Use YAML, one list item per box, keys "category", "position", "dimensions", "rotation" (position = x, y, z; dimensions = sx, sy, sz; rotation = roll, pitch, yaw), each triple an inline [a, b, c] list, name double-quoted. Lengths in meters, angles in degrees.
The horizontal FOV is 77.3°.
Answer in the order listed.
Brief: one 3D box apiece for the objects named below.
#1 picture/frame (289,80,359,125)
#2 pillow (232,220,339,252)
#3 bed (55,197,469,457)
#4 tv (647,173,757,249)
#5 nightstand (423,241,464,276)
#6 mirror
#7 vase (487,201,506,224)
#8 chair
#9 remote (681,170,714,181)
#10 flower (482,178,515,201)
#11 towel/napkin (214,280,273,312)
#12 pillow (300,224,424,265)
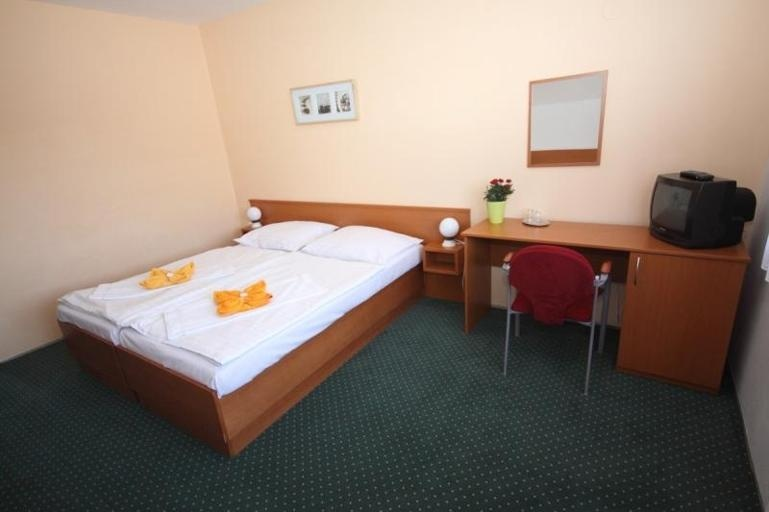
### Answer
- category: "picture/frame"
  position: [-0.689, -1.740, 5.464]
  dimensions: [0.849, 0.462, 0.169]
  rotation: [13, 25, 33]
- category: "pillow"
  position: [-1.091, -0.279, 5.700]
  dimensions: [0.614, 0.162, 0.584]
  rotation: [1, 14, 27]
- category: "bed"
  position: [-1.017, 0.425, 4.750]
  dimensions: [3.345, 1.395, 1.907]
  rotation: [-18, 26, -37]
- category: "tv"
  position: [2.650, -0.412, 3.964]
  dimensions: [0.743, 0.584, 0.512]
  rotation: [-5, 19, -12]
- category: "nightstand"
  position: [0.648, 0.025, 5.121]
  dimensions: [0.386, 0.266, 0.279]
  rotation: [7, 21, 30]
- category: "mirror"
  position: [1.705, -1.300, 4.417]
  dimensions: [0.888, 1.079, 0.081]
  rotation: [3, 12, 21]
- category: "vase"
  position: [1.150, -0.442, 4.767]
  dimensions: [0.195, 0.216, 0.203]
  rotation: [10, 19, 27]
- category: "chair"
  position: [1.480, 0.412, 4.168]
  dimensions: [0.845, 1.218, 0.767]
  rotation: [8, 23, 25]
- category: "remote"
  position: [2.468, -0.633, 3.798]
  dimensions: [0.151, 0.044, 0.146]
  rotation: [-12, 18, -34]
- category: "flower"
  position: [1.118, -0.643, 4.738]
  dimensions: [0.256, 0.221, 0.258]
  rotation: [11, 16, 40]
- category: "towel/napkin"
  position: [-1.237, 0.387, 4.173]
  dimensions: [0.326, 0.102, 0.307]
  rotation: [-6, 16, -19]
- category: "pillow"
  position: [-0.268, -0.126, 5.111]
  dimensions: [0.771, 0.186, 0.594]
  rotation: [7, 15, 23]
